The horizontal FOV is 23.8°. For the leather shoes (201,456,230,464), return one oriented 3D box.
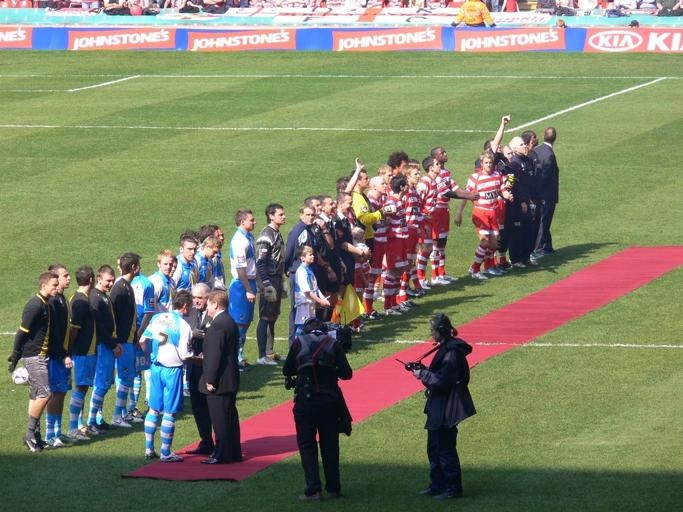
[{"bbox_3d":[-2.456,4.050,31.971,0.587,0.215,0.190,4,-2,6],"label":"leather shoes"}]

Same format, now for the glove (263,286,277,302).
[{"bbox_3d":[-1.515,0.810,34.684,0.265,0.333,0.116,-4,8,-1],"label":"glove"}]

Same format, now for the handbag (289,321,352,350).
[{"bbox_3d":[-0.292,1.529,31.553,0.899,0.382,0.698,-1,4,1],"label":"handbag"}]

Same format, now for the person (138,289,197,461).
[{"bbox_3d":[-3.403,2.600,32.070,1.004,2.888,0.860,-2,10,-6],"label":"person"}]

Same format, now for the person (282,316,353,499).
[{"bbox_3d":[-0.384,2.944,31.057,1.183,3.280,1.036,-3,10,-11],"label":"person"}]

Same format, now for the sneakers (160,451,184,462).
[{"bbox_3d":[-3.324,3.987,32.013,0.480,0.188,0.165,-1,6,-5],"label":"sneakers"}]

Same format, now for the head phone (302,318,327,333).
[{"bbox_3d":[-0.500,1.351,31.288,0.369,0.268,0.341,-4,-1,25],"label":"head phone"}]

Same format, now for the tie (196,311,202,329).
[{"bbox_3d":[-2.815,1.318,32.602,0.074,0.295,0.084,2,-4,30],"label":"tie"}]

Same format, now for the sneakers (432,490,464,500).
[{"bbox_3d":[2.063,4.585,30.888,0.525,0.194,0.171,2,5,1],"label":"sneakers"}]

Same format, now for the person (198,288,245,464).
[{"bbox_3d":[-2.368,2.399,31.825,0.783,3.389,0.587,-2,10,-5],"label":"person"}]

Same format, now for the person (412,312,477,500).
[{"bbox_3d":[1.994,2.862,30.905,1.080,3.450,0.889,1,10,12],"label":"person"}]

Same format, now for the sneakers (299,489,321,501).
[{"bbox_3d":[-0.582,4.589,30.873,0.359,0.140,0.161,2,5,12],"label":"sneakers"}]

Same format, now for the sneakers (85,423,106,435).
[{"bbox_3d":[-4.995,3.541,33.015,0.465,0.191,0.158,-1,29,-9],"label":"sneakers"}]

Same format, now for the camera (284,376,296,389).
[{"bbox_3d":[-0.979,2.460,31.266,0.282,0.264,0.283,0,1,-1],"label":"camera"}]

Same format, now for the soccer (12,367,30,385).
[{"bbox_3d":[-6.405,2.431,32.523,0.305,0.353,0.371,-3,10,-11],"label":"soccer"}]

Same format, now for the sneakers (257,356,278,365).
[{"bbox_3d":[-1.611,2.303,35.316,0.483,0.177,0.159,0,4,3],"label":"sneakers"}]

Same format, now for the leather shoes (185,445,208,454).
[{"bbox_3d":[-2.851,3.879,32.361,0.526,0.206,0.170,2,-1,18],"label":"leather shoes"}]
